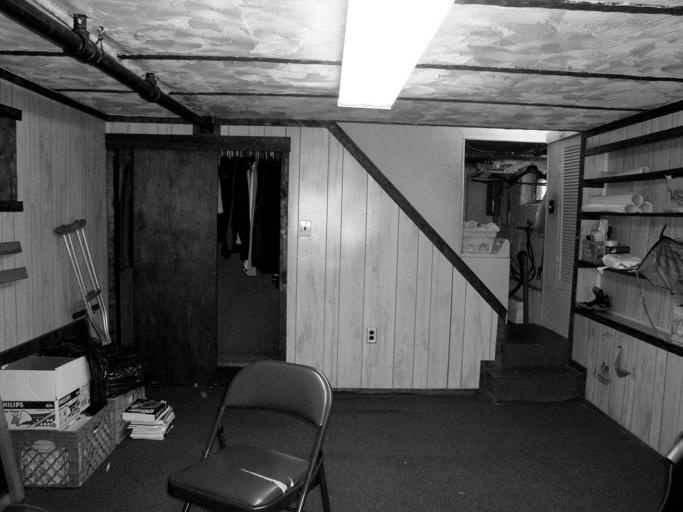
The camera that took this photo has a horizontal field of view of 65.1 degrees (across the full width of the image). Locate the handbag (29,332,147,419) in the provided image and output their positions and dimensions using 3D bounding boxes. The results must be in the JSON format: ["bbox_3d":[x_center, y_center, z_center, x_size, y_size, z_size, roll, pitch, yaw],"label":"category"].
[{"bbox_3d":[-1.871,0.903,4.108,0.596,0.306,0.468,7,9,-4],"label":"handbag"}]

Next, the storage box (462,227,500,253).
[{"bbox_3d":[1.398,-0.161,5.423,0.276,0.184,0.285,2,5,9],"label":"storage box"}]

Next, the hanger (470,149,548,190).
[{"bbox_3d":[2.296,-1.178,7.426,1.005,0.419,0.611,4,12,17],"label":"hanger"}]

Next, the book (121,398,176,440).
[{"bbox_3d":[-1.548,1.323,4.372,0.231,0.104,0.298,4,5,-1],"label":"book"}]
